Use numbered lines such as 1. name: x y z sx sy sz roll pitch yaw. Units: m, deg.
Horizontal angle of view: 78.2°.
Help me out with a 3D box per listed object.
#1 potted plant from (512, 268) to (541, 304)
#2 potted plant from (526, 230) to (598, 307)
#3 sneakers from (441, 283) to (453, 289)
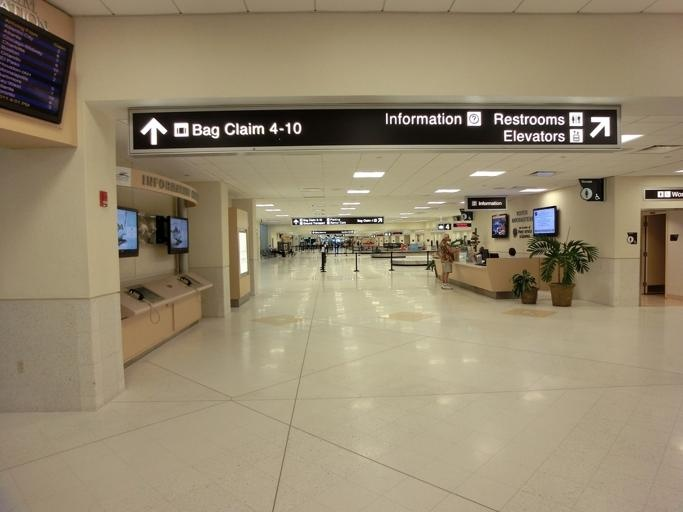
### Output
1. potted plant: 4.907 0.861 11.270 0.749 0.863 0.679 -5 -10 -17
2. potted plant: 5.890 0.464 11.363 1.727 1.745 1.738 -1 -6 -1
3. sneakers: 3.561 1.052 14.370 0.466 0.186 0.161 0 3 32
